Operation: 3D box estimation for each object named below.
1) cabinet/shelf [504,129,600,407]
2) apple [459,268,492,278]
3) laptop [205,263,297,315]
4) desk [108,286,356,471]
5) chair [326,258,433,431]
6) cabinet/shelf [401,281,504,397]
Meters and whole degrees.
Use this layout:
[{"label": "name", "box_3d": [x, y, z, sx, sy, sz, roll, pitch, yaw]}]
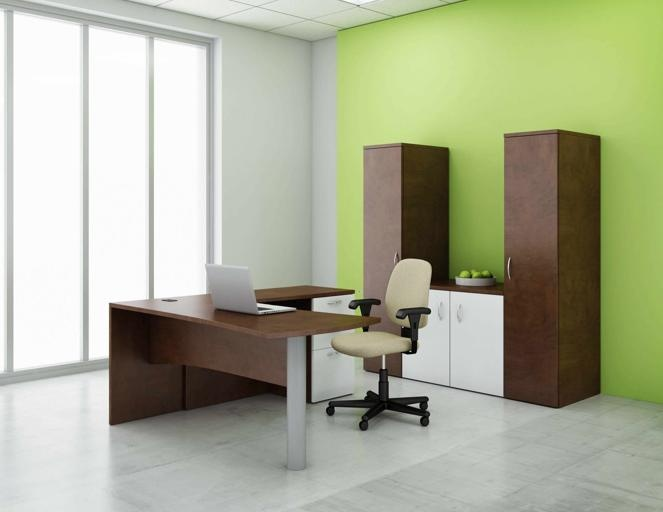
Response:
[{"label": "cabinet/shelf", "box_3d": [2.010, 0.111, 5.153, 0.909, 2.404, 0.578, 1, 6, 5]}, {"label": "apple", "box_3d": [1.459, 0.186, 5.739, 0.193, 0.074, 0.145, -2, 0, -34]}, {"label": "laptop", "box_3d": [-0.617, 0.236, 4.219, 0.413, 0.359, 0.527, -5, 7, -43]}, {"label": "desk", "box_3d": [-0.901, 0.730, 4.365, 1.398, 0.705, 1.416, 0, 1, 43]}, {"label": "chair", "box_3d": [0.454, 0.694, 4.786, 0.831, 1.298, 0.928, 1, 3, 38]}, {"label": "cabinet/shelf", "box_3d": [1.291, 0.806, 5.764, 1.160, 0.974, 0.437, 2, 5, 40]}]
